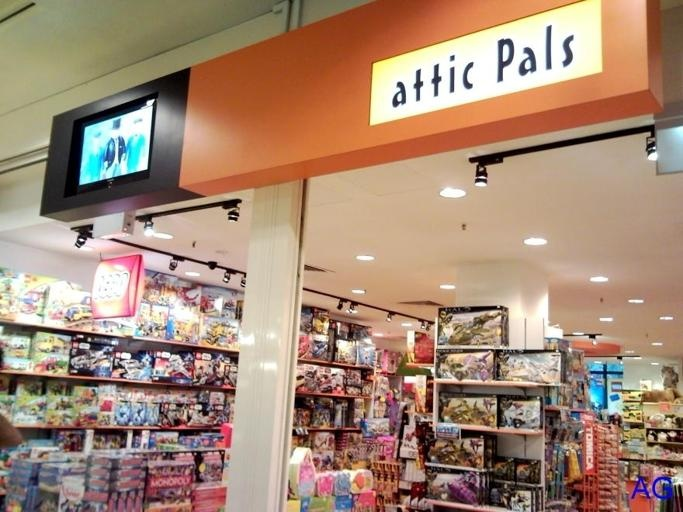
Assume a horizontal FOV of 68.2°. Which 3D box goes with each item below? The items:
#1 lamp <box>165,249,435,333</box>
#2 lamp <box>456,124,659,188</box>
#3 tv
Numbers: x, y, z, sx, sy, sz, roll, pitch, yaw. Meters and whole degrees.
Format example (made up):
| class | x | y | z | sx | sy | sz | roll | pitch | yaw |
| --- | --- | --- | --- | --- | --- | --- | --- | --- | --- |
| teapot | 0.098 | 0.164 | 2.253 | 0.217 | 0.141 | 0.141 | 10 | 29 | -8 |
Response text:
| class | x | y | z | sx | sy | sz | roll | pitch | yaw |
| --- | --- | --- | --- | --- | --- | --- | --- | --- | --- |
| lamp | -0.673 | 0.467 | 7.103 | 4.696 | 0.340 | 0.174 | 17 | -59 | -6 |
| lamp | 1.613 | -0.742 | 3.674 | 1.293 | 0.234 | 0.218 | -7 | 16 | 14 |
| tv | -1.488 | -0.686 | 3.233 | 0.740 | 0.542 | 0.014 | -6 | -13 | 24 |
